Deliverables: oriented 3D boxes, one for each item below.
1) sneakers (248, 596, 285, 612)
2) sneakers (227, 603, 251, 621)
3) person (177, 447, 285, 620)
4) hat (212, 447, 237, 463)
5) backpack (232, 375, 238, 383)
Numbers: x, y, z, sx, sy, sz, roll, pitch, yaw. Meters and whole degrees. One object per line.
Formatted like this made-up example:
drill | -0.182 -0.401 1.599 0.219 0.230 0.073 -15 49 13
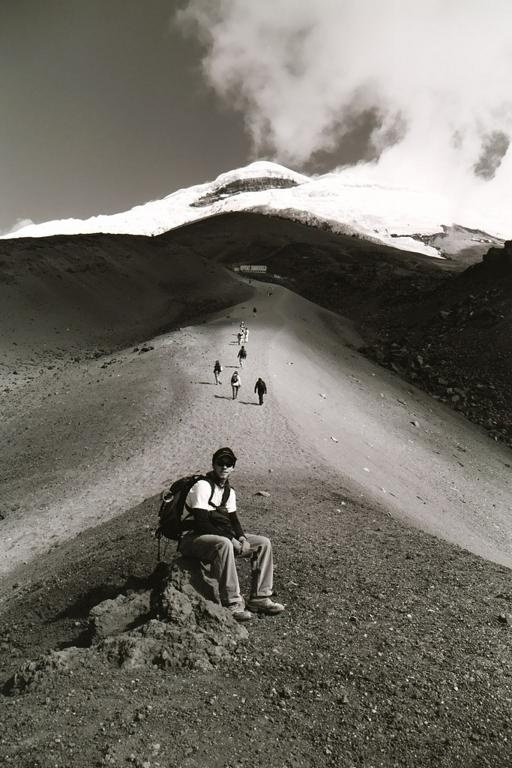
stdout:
sneakers | 0.093 2.096 5.238 0.344 0.165 0.142 2 -2 -7
sneakers | -0.143 2.070 4.943 0.098 0.124 0.267 3 -17 -45
person | -0.222 1.399 5.216 0.999 1.486 0.739 5 4 -7
hat | -0.311 0.711 5.406 0.136 0.104 0.197 5 -29 -2
backpack | -0.691 -0.143 17.503 0.141 0.204 0.196 8 -24 -26
